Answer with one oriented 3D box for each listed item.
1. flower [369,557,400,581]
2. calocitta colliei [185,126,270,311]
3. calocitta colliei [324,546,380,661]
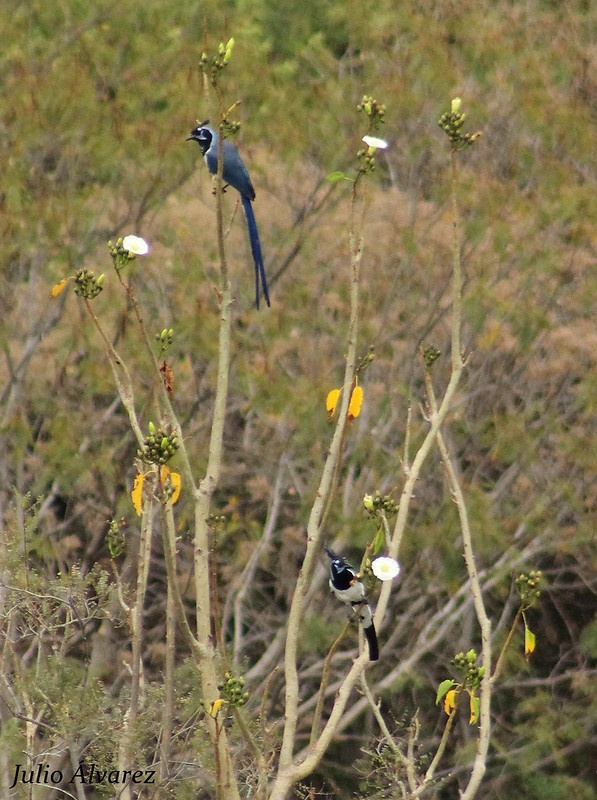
[{"bbox_3d":[0.320,0.604,7.066,0.094,0.077,0.145,-1,30,-3],"label":"flower"},{"bbox_3d":[-0.289,-0.832,8.603,0.247,0.945,0.168,-6,44,1],"label":"calocitta colliei"},{"bbox_3d":[0.214,0.760,7.380,0.176,0.366,0.510,-1,29,-2],"label":"calocitta colliei"}]
